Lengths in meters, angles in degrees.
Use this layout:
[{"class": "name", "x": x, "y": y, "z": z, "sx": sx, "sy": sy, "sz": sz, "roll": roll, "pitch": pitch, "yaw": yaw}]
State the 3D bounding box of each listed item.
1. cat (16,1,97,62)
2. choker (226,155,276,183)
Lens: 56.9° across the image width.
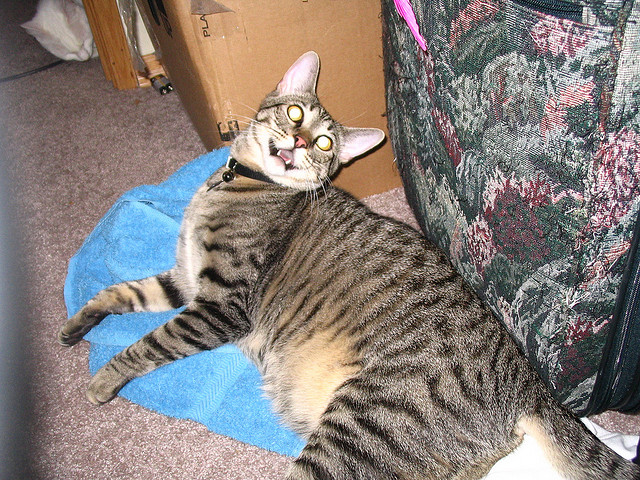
[{"class": "cat", "x": -1.262, "y": -1.036, "z": 2.945, "sx": 0.304, "sy": 0.340, "sz": 0.132, "roll": -27, "pitch": 9, "yaw": 21}, {"class": "choker", "x": -0.224, "y": -0.215, "z": 1.856, "sx": 0.105, "sy": 0.081, "sz": 0.034, "roll": 18, "pitch": 68, "yaw": 17}]
